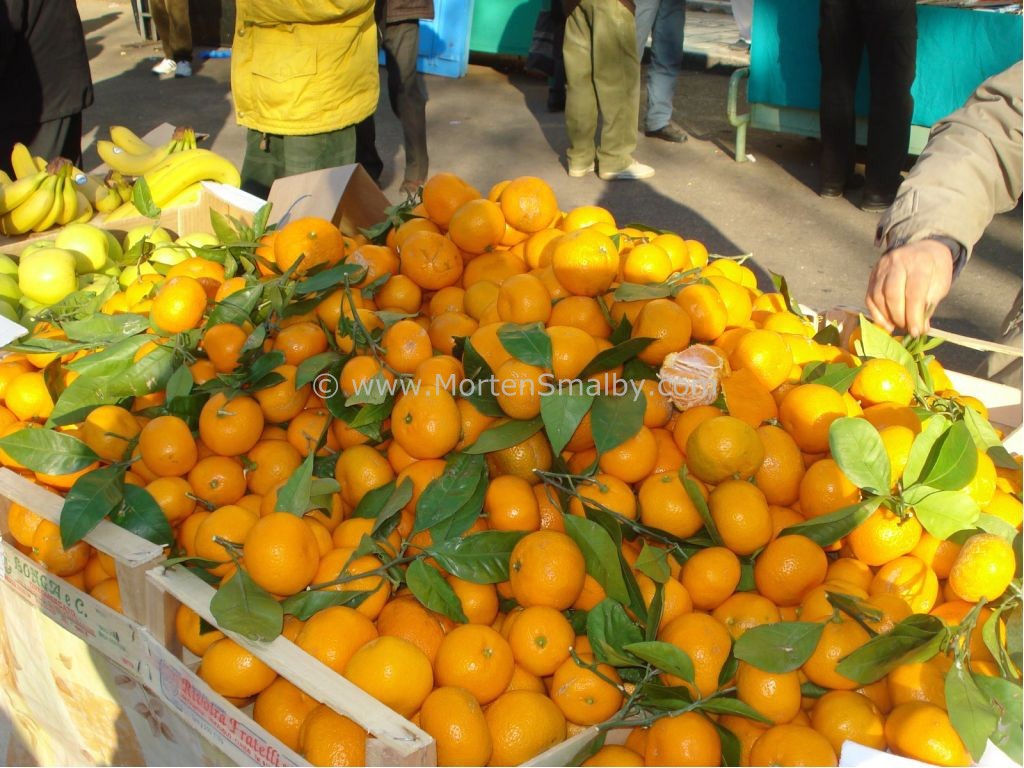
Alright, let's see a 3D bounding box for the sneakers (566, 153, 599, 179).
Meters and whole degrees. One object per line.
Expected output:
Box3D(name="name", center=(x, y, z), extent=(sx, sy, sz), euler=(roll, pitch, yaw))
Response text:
Box3D(name="sneakers", center=(0.564, -1.823, 6.454), extent=(0.111, 0.133, 0.307), euler=(7, 26, 17))
